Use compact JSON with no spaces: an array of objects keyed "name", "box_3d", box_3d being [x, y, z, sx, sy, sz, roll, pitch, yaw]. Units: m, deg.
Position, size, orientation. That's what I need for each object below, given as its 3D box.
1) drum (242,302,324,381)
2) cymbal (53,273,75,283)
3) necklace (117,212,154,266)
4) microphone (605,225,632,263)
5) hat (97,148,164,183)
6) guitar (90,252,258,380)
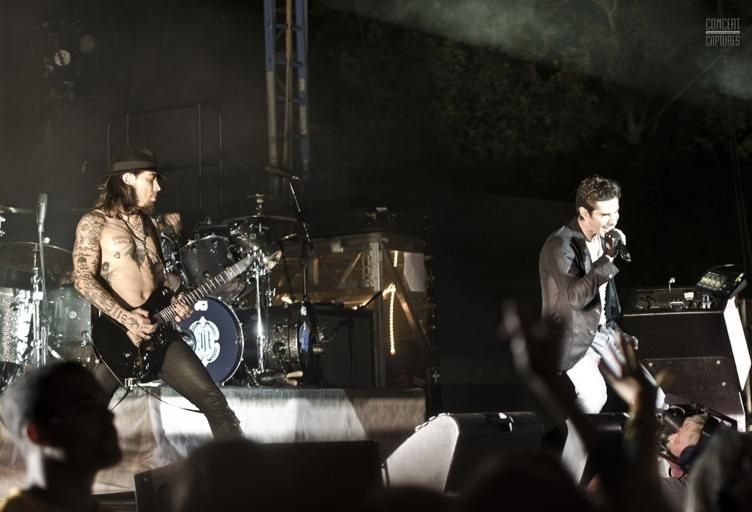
[{"name":"drum","box_3d":[-0.907,0.956,7.557,0.873,0.910,0.696,-4,-9,25]},{"name":"cymbal","box_3d":[-3.541,0.251,8.060,0.164,0.046,0.164,12,21,18]},{"name":"necklace","box_3d":[-1.760,-0.149,5.373,0.122,0.529,0.155,-28,-3,-5]},{"name":"microphone","box_3d":[1.763,-0.091,5.186,0.309,0.235,0.113,5,-9,-43]},{"name":"hat","box_3d":[-1.902,-0.751,5.548,0.320,0.145,0.281,-9,-3,0]},{"name":"guitar","box_3d":[-1.694,0.518,5.961,1.217,0.489,0.166,-36,8,-22]}]
